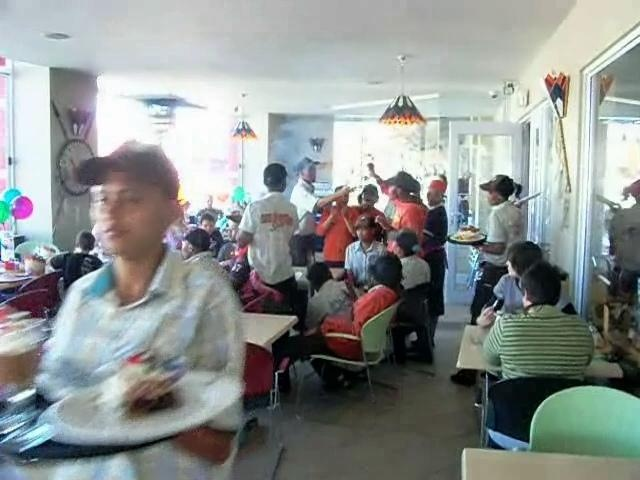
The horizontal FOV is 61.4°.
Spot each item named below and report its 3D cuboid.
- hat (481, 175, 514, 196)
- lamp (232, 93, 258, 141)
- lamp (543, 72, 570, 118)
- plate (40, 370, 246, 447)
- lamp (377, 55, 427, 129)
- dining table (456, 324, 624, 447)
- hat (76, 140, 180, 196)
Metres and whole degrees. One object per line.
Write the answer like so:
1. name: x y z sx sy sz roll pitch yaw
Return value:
1. hat: 1.426 -0.437 4.325 0.230 0.131 0.157 22 18 13
2. lamp: -1.167 -1.850 8.325 0.333 0.624 0.342 -5 4 -10
3. lamp: 1.836 -1.128 4.163 0.148 0.371 0.319 0 7 -4
4. plate: -0.294 0.288 0.913 0.208 0.033 0.142 -3 17 -14
5. lamp: 0.845 -1.538 5.500 0.498 0.662 0.546 7 12 39
6. dining table: 1.031 0.623 2.722 0.594 0.407 0.631 0 11 6
7. hat: -0.330 -0.131 0.945 0.140 0.085 0.097 17 14 -1
